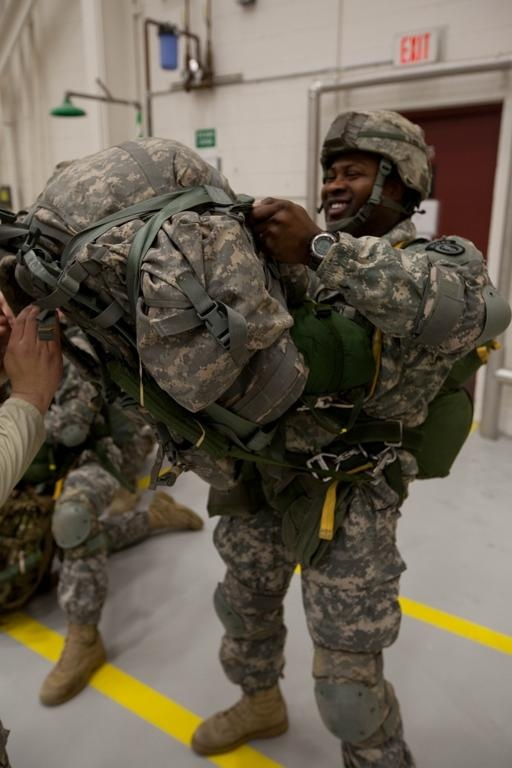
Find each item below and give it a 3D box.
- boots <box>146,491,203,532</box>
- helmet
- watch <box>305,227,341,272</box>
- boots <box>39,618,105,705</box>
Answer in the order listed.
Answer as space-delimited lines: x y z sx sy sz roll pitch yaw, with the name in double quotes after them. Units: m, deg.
-0.476 0.747 3.826 0.304 0.151 0.223 29 -25 -28 "boots"
0.387 -0.741 2.113 0.369 0.251 0.273 0 11 -43 "helmet"
0.160 -0.333 1.590 0.065 0.099 0.096 36 -7 5 "watch"
-0.715 1.126 2.673 0.140 0.239 0.355 -3 9 24 "boots"
